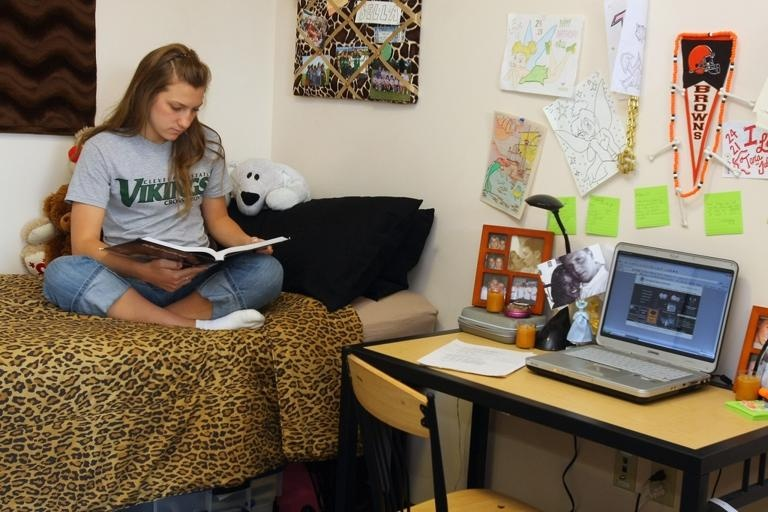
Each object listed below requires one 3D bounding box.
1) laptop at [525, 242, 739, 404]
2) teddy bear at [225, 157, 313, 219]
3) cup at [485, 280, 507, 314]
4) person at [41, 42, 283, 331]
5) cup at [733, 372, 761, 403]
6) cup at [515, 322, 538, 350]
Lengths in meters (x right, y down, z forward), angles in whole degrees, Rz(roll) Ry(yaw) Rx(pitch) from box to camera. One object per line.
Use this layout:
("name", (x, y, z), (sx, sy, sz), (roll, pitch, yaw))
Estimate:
("laptop", (0.732, 0.191, 1.645), (0.472, 0.319, 0.489), (-9, 8, -14))
("teddy bear", (-0.552, -0.340, 2.585), (0.402, 0.175, 0.388), (18, 35, 19))
("cup", (0.415, 0.152, 2.088), (0.099, 0.157, 0.096), (1, 10, 0))
("person", (-0.844, -0.253, 2.114), (0.904, 1.006, 0.758), (-2, 17, -29))
("cup", (1.022, 0.366, 1.541), (0.068, 0.070, 0.068), (0, 8, 0))
("cup", (0.483, 0.270, 1.861), (0.082, 0.085, 0.080), (2, 12, 0))
